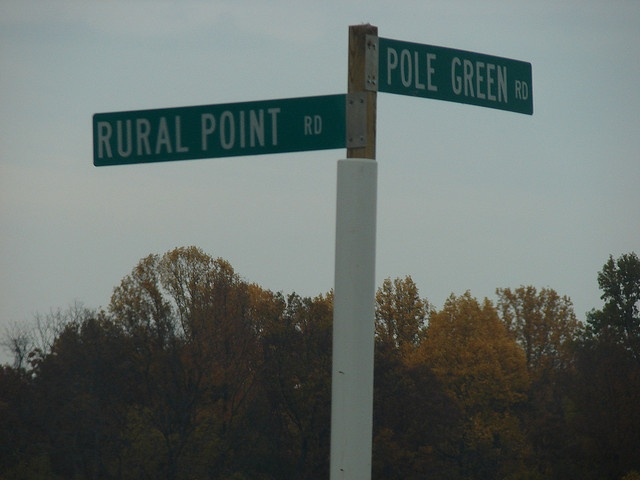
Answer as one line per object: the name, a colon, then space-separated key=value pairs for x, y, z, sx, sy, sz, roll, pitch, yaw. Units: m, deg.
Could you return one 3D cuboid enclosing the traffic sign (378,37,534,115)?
traffic sign: x=3.324 y=-3.128 z=28.542 sx=2.605 sy=1.196 sz=0.063 roll=6 pitch=12 yaw=-14
